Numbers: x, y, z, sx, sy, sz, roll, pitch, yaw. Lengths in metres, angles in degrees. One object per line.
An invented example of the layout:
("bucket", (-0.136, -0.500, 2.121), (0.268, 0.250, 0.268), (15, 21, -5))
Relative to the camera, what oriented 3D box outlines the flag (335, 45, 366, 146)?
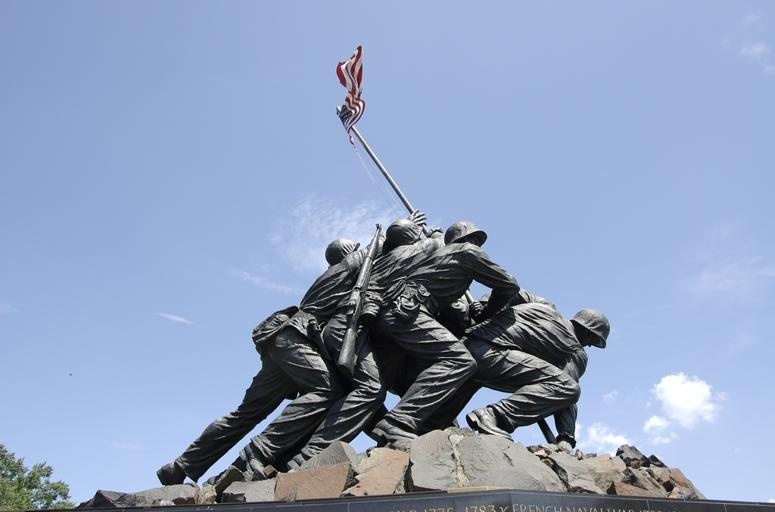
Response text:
("flag", (-1.082, -4.442, 25.446), (0.726, 2.754, 1.977), (-2, -20, -4))
